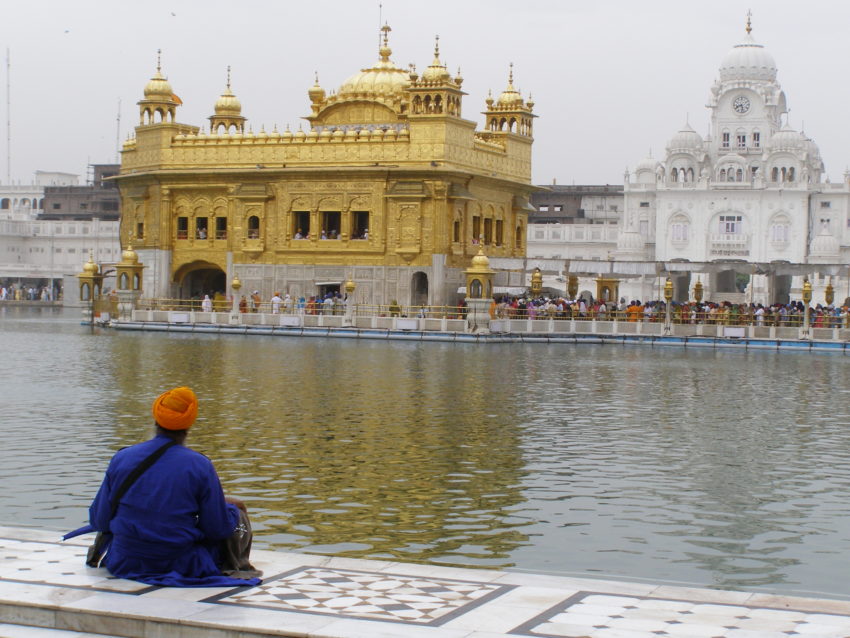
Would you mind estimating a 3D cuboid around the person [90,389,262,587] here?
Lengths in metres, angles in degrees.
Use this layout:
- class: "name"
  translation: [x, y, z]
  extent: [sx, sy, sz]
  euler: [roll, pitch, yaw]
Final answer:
- class: "person"
  translation: [-2.316, 1.642, 14.478]
  extent: [1.748, 1.445, 1.091]
  euler: [5, 4, 12]
